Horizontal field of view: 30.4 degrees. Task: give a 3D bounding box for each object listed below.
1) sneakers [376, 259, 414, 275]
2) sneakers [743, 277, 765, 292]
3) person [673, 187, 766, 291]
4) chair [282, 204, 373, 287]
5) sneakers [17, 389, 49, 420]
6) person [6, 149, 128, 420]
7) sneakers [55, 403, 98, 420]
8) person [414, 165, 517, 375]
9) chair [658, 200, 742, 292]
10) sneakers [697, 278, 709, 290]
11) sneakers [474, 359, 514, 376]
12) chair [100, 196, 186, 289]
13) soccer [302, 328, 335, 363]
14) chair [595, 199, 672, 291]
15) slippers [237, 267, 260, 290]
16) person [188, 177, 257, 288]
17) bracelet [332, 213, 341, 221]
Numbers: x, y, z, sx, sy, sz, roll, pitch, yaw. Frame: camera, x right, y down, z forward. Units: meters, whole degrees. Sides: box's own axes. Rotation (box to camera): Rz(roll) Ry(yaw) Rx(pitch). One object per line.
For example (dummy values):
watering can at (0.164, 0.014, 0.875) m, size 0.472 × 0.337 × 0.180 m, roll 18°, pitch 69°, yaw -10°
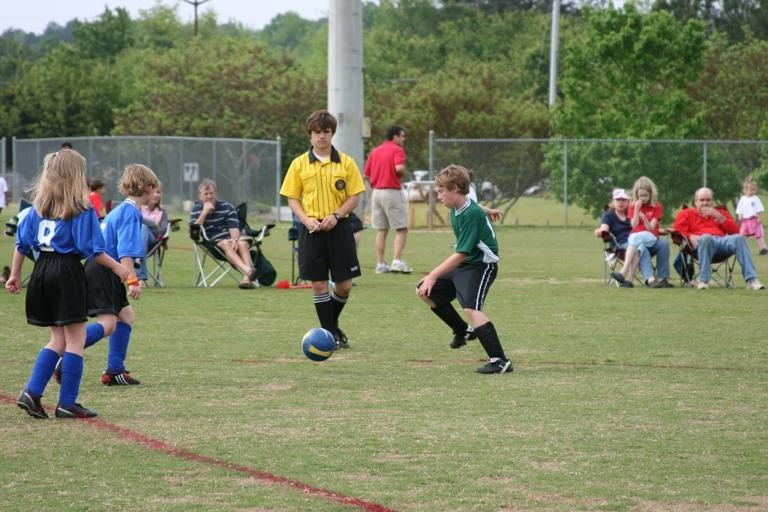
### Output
sneakers at (0.149, 0.186, 24.688) m, size 0.699 × 0.260 × 0.241 m, roll 1°, pitch 1°, yaw -10°
sneakers at (6.010, 0.470, 22.823) m, size 0.150 × 0.144 × 0.362 m, roll -2°, pitch -3°, yaw -13°
person at (5.445, -0.286, 23.142) m, size 1.379 × 1.650 × 0.623 m, roll -2°, pitch 0°, yaw 14°
chair at (-0.847, -0.144, 19.421) m, size 1.328 × 1.478 × 0.860 m, roll -3°, pitch -1°, yaw -10°
sneakers at (-4.216, 1.851, 17.070) m, size 0.251 × 0.174 × 0.519 m, roll -23°, pitch -45°, yaw 19°
person at (-3.910, 0.335, 17.156) m, size 1.220 × 3.311 × 0.493 m, roll -2°, pitch 0°, yaw -13°
sneakers at (-3.747, 1.903, 17.108) m, size 0.549 × 0.192 × 0.182 m, roll 1°, pitch -2°, yaw -10°
person at (0.998, 0.158, 18.493) m, size 1.094 × 2.714 × 0.943 m, roll -2°, pitch 0°, yaw -24°
chair at (5.419, -0.135, 23.488) m, size 1.360 × 1.255 × 1.031 m, roll 1°, pitch 4°, yaw 2°
sneakers at (5.215, 0.461, 23.011) m, size 0.211 × 0.169 × 0.285 m, roll -2°, pitch 0°, yaw 9°
sneakers at (1.450, 1.449, 18.326) m, size 0.562 × 0.208 × 0.178 m, roll 1°, pitch -4°, yaw 2°
chair at (-4.271, -0.176, 23.793) m, size 1.611 × 1.759 × 1.418 m, roll 0°, pitch -4°, yaw 23°
soccer at (-0.882, 1.182, 18.674) m, size 0.491 × 0.428 × 0.469 m, roll 2°, pitch -11°, yaw -16°
chair at (4.202, -0.390, 23.478) m, size 1.160 × 1.588 × 1.355 m, roll 1°, pitch 13°, yaw 2°
slippers at (-2.235, 0.377, 23.170) m, size 0.352 × 0.348 × 0.888 m, roll 1°, pitch -4°, yaw -4°
person at (-2.689, -0.373, 23.330) m, size 1.036 × 1.825 × 0.796 m, roll -2°, pitch 0°, yaw -6°
bracelet at (-0.641, -0.545, 18.975) m, size 0.067 × 0.112 × 0.114 m, roll -49°, pitch 15°, yaw -31°
